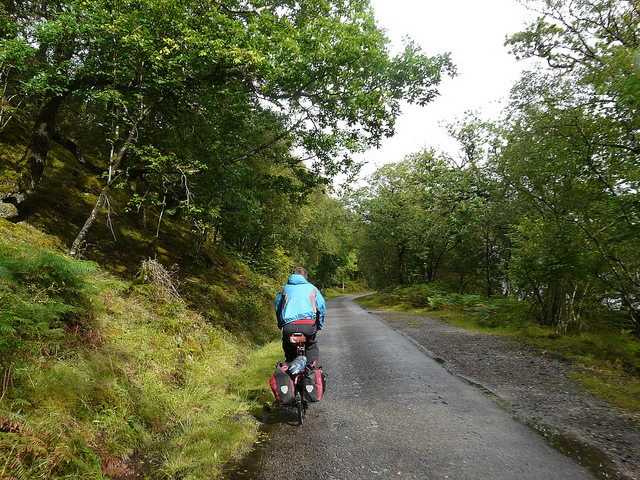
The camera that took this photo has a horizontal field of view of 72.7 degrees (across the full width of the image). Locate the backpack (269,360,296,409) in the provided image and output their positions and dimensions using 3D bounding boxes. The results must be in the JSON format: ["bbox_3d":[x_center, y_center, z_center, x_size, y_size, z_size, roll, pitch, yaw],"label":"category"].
[{"bbox_3d":[-0.834,3.289,9.813,0.559,1.053,0.396,-3,0,-8],"label":"backpack"}]

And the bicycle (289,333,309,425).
[{"bbox_3d":[-0.506,3.166,10.068,0.395,2.075,0.648,-3,0,7],"label":"bicycle"}]
